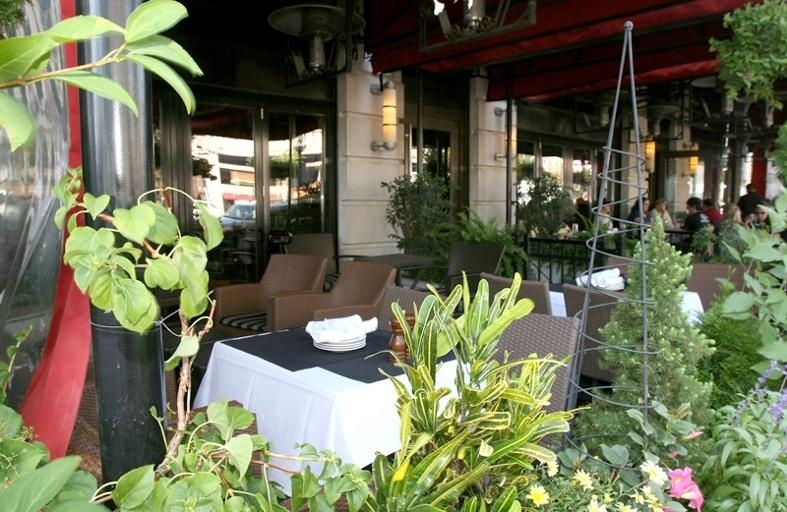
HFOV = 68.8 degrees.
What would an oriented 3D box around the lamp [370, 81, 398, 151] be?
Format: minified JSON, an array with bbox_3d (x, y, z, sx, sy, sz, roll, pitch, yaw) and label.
[{"bbox_3d":[-0.137,-1.951,7.898,0.342,0.988,0.190,4,4,29],"label":"lamp"}]

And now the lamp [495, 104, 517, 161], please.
[{"bbox_3d":[1.860,-2.156,9.609,0.381,1.029,1.066,3,3,10],"label":"lamp"}]
